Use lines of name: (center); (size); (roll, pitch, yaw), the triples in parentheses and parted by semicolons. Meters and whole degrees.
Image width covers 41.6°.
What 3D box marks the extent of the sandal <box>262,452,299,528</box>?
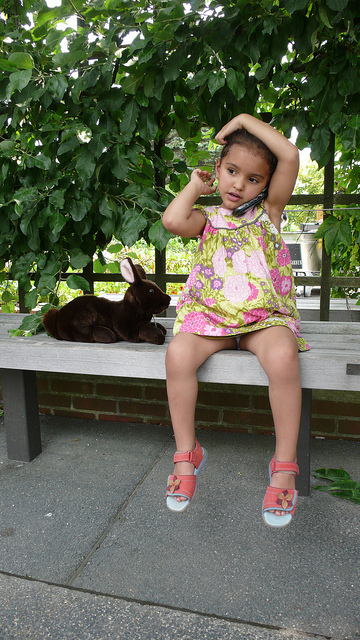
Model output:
sandal: (0.244, 0.415, 1.140); (0.062, 0.080, 0.200); (3, 27, 11)

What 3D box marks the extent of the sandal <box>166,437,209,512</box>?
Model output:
sandal: (0.016, 0.394, 1.290); (0.073, 0.089, 0.228); (-7, 39, 30)

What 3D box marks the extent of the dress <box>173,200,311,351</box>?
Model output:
dress: (0.184, -0.165, 1.465); (0.405, 0.405, 0.269); (0, 6, 2)

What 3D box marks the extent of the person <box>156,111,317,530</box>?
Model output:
person: (0.145, -0.069, 1.390); (0.402, 1.051, 0.596); (1, 6, 13)

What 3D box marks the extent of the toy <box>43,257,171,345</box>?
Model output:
toy: (-0.221, -0.094, 1.806); (0.514, 0.370, 0.222); (1, 26, 3)
